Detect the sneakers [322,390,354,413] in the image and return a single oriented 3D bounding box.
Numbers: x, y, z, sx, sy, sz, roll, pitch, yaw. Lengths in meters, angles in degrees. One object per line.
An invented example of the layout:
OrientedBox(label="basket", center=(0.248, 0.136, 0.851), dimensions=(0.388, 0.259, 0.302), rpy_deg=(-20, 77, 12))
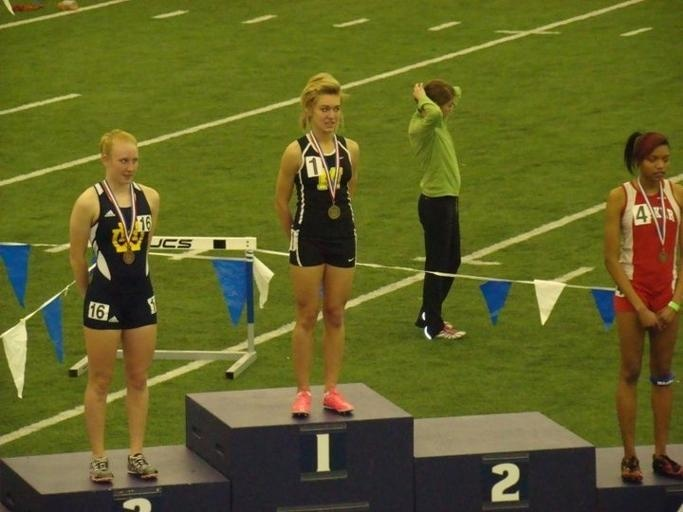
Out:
OrientedBox(label="sneakers", center=(-0.034, 1.139, 9.492), dimensions=(0.117, 0.133, 0.293), rpy_deg=(-12, 10, -36))

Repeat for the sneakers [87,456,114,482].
OrientedBox(label="sneakers", center=(-1.822, 1.593, 9.114), dimensions=(0.176, 0.166, 0.266), rpy_deg=(-12, 19, -13))

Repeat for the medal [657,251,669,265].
OrientedBox(label="medal", center=(2.511, 0.006, 9.528), dimensions=(0.120, 0.145, 0.021), rpy_deg=(0, -3, -9))

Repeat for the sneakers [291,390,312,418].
OrientedBox(label="sneakers", center=(-0.314, 1.157, 9.433), dimensions=(0.216, 0.225, 0.549), rpy_deg=(-1, 0, 0))

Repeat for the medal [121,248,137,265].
OrientedBox(label="medal", center=(-1.607, -0.004, 9.106), dimensions=(0.135, 0.172, 0.031), rpy_deg=(-3, 8, -19))

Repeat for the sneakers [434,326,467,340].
OrientedBox(label="sneakers", center=(1.147, 0.785, 12.476), dimensions=(0.365, 0.142, 0.111), rpy_deg=(-4, 7, 18))

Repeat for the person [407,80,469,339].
OrientedBox(label="person", center=(0.909, -0.442, 12.151), dimensions=(0.615, 2.709, 0.726), rpy_deg=(-3, 20, 17))

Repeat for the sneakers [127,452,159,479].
OrientedBox(label="sneakers", center=(-1.538, 1.596, 9.180), dimensions=(0.284, 0.126, 0.128), rpy_deg=(1, 2, 41))

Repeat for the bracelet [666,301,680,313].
OrientedBox(label="bracelet", center=(2.610, 0.397, 9.545), dimensions=(0.089, 0.050, 0.083), rpy_deg=(6, -20, 9))

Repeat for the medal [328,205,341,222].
OrientedBox(label="medal", center=(-0.068, -0.341, 9.418), dimensions=(0.113, 0.139, 0.020), rpy_deg=(14, -9, -13))
